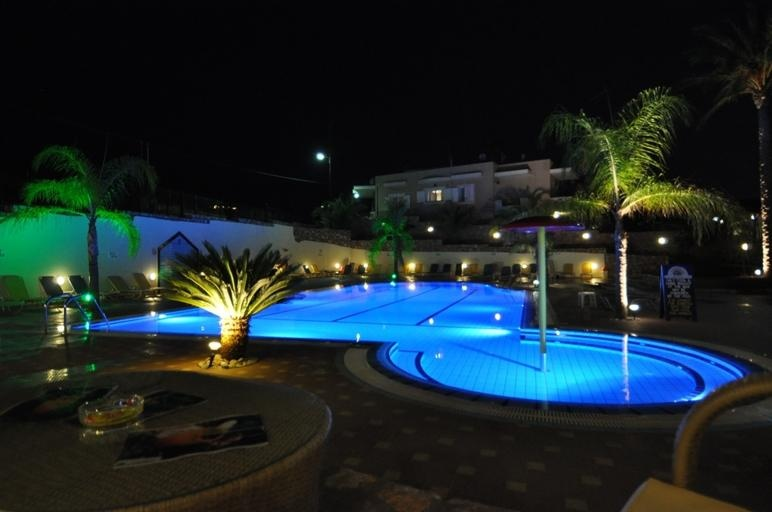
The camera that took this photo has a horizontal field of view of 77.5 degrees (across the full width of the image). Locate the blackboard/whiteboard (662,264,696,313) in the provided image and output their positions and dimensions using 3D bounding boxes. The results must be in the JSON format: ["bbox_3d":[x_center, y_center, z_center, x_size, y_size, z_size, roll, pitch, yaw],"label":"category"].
[{"bbox_3d":[8.411,1.058,14.047,1.048,1.637,1.098,3,-2,-38],"label":"blackboard/whiteboard"}]
